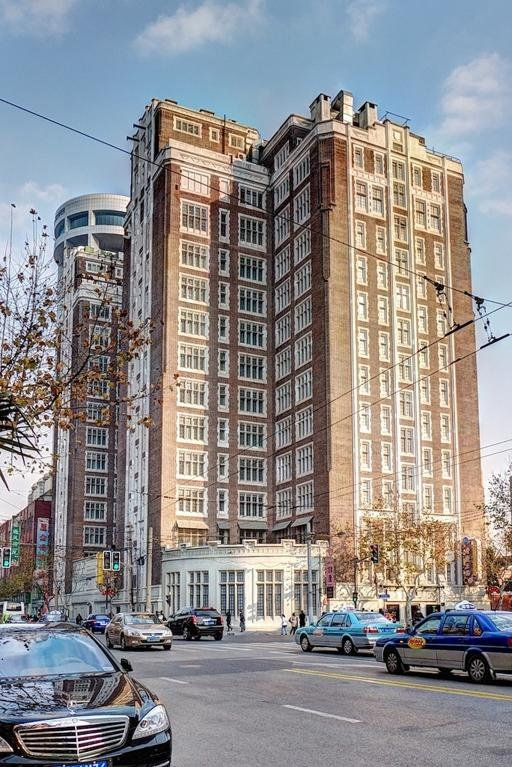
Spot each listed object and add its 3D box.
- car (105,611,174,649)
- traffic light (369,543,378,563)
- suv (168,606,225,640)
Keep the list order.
[{"bbox_3d":[-4.452,9.166,36.601,1.291,0.906,2.794,7,-23,-21],"label":"car"},{"bbox_3d":[7.342,10.541,61.490,0.964,1.032,1.016,0,0,-1],"label":"traffic light"},{"bbox_3d":[-2.947,11.582,47.976,1.612,1.223,3.532,8,-13,-24],"label":"suv"}]
